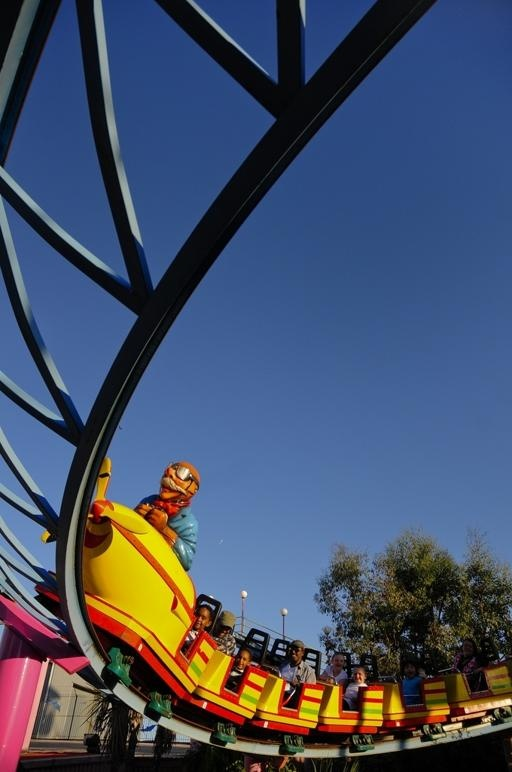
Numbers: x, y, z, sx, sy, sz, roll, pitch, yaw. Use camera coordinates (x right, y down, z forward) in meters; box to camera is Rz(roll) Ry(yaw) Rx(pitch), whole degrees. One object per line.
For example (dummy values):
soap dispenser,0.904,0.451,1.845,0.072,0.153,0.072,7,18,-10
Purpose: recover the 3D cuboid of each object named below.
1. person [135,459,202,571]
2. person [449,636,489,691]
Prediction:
person,-1.079,1.559,7.082,0.826,1.277,0.384,19,-36,-11
person,3.635,4.727,9.489,0.502,1.038,1.344,-4,-39,19
